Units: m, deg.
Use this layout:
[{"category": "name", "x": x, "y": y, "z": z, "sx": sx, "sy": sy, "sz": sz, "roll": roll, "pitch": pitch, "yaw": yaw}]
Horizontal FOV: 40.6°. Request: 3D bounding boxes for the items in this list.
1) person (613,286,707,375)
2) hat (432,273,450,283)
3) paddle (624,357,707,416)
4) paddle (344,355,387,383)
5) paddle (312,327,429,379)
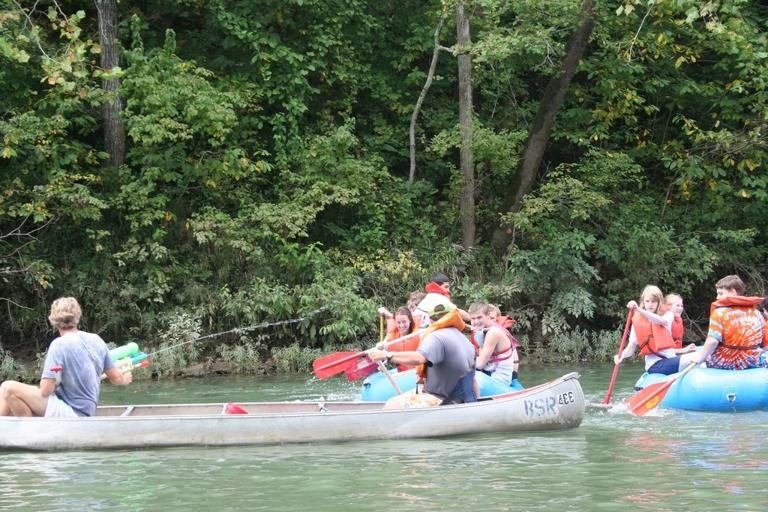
[{"category": "person", "x": 5.143, "y": 1.447, "z": 19.814, "sx": 1.378, "sy": 1.768, "sz": 1.019, "roll": -13, "pitch": -11, "yaw": 36}, {"category": "hat", "x": 1.073, "y": 0.428, "z": 20.408, "sx": 0.294, "sy": 0.272, "sz": 0.225, "roll": 6, "pitch": -6, "yaw": 38}, {"category": "paddle", "x": 4.762, "y": 2.086, "z": 17.565, "sx": 1.741, "sy": 0.535, "sz": 0.141, "roll": -38, "pitch": -30, "yaw": -15}, {"category": "paddle", "x": -0.301, "y": 1.919, "z": 17.882, "sx": 0.270, "sy": 0.387, "sz": 0.861, "roll": -5, "pitch": 9, "yaw": 38}, {"category": "paddle", "x": -0.278, "y": 1.753, "z": 18.478, "sx": 1.942, "sy": 0.160, "sz": 0.398, "roll": -28, "pitch": -58, "yaw": 26}]
